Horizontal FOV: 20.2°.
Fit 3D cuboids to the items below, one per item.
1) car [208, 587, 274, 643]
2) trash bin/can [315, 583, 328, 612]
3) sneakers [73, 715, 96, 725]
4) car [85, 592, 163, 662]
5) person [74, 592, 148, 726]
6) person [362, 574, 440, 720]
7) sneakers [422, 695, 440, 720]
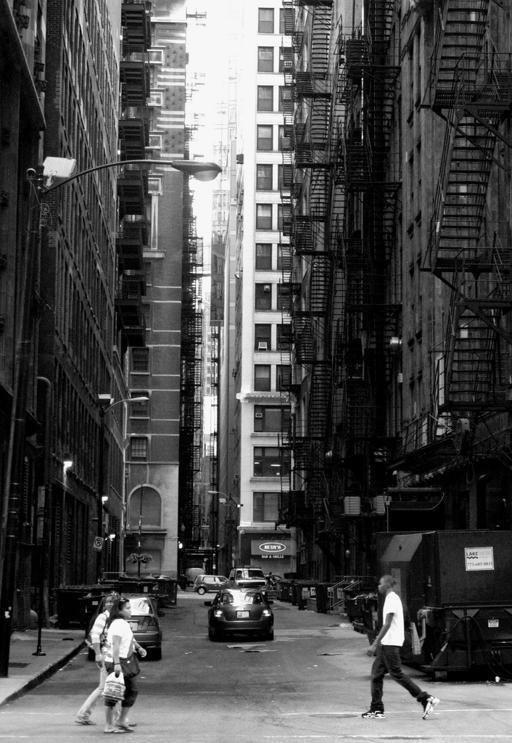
[{"bbox_3d":[-0.332,5.946,34.732,1.250,1.667,3.466,0,-1,-2],"label":"car"},{"bbox_3d":[2.550,8.592,54.045,0.417,1.161,1.130,0,-14,0],"label":"trash bin/can"},{"bbox_3d":[-2.021,4.163,17.264,0.091,0.159,0.265,14,3,43],"label":"sneakers"},{"bbox_3d":[-2.158,4.943,27.988,0.861,1.154,2.529,0,0,0],"label":"car"},{"bbox_3d":[-1.620,3.380,16.865,0.524,1.802,0.427,1,16,-14],"label":"person"},{"bbox_3d":[1.750,3.471,18.200,0.818,1.855,1.029,-1,-12,5],"label":"person"},{"bbox_3d":[2.150,4.213,17.765,0.157,0.496,0.157,2,23,-6],"label":"sneakers"}]
